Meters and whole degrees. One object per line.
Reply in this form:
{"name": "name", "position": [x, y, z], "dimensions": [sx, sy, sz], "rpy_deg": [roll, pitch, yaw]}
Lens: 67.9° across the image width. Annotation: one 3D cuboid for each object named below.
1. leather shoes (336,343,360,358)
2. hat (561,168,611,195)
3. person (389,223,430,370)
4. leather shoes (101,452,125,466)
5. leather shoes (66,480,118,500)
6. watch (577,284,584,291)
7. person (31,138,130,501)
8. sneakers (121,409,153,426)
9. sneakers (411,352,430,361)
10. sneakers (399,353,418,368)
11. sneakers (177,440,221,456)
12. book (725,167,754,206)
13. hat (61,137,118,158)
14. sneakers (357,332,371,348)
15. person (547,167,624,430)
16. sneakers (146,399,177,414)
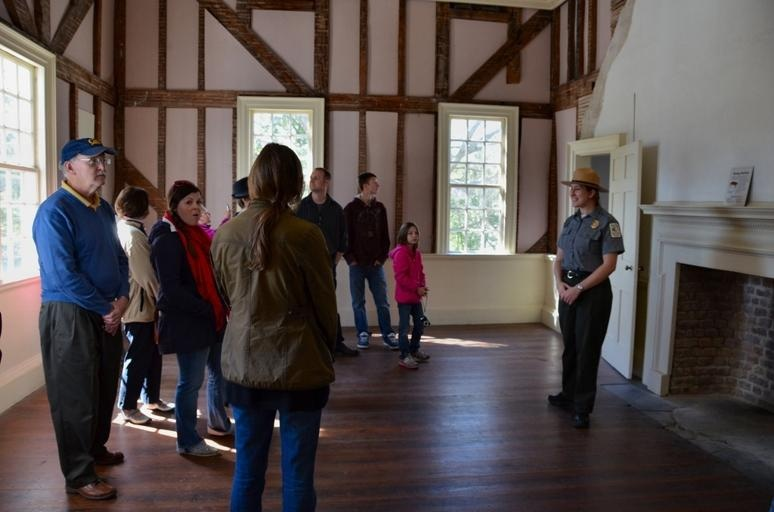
{"name": "leather shoes", "position": [-0.478, 1.156, 7.025], "dimensions": [0.324, 0.141, 0.141], "rpy_deg": [0, 1, -5]}
{"name": "hat", "position": [1.962, -0.688, 5.510], "dimensions": [0.414, 0.159, 0.372], "rpy_deg": [23, -5, -33]}
{"name": "person", "position": [0.278, 0.460, 6.608], "dimensions": [0.444, 1.626, 0.470], "rpy_deg": [1, 13, 1]}
{"name": "leather shoes", "position": [-2.226, 1.645, 4.701], "dimensions": [0.179, 0.081, 0.082], "rpy_deg": [-1, 2, -15]}
{"name": "leather shoes", "position": [-2.232, 1.756, 4.382], "dimensions": [0.367, 0.167, 0.148], "rpy_deg": [0, 0, 8]}
{"name": "watch", "position": [1.763, 0.289, 5.275], "dimensions": [0.057, 0.056, 0.014], "rpy_deg": [3, -6, 28]}
{"name": "person", "position": [-2.294, 0.466, 4.324], "dimensions": [0.579, 2.602, 0.711], "rpy_deg": [-1, 13, -7]}
{"name": "sneakers", "position": [-2.292, 1.479, 5.276], "dimensions": [0.238, 0.096, 0.128], "rpy_deg": [7, 5, 14]}
{"name": "sneakers", "position": [0.404, 1.201, 6.857], "dimensions": [0.205, 0.089, 0.089], "rpy_deg": [0, -1, -1]}
{"name": "sneakers", "position": [0.244, 1.228, 6.652], "dimensions": [0.248, 0.114, 0.098], "rpy_deg": [-2, -2, 41]}
{"name": "sneakers", "position": [-1.564, 1.595, 4.769], "dimensions": [0.304, 0.129, 0.140], "rpy_deg": [1, -1, -6]}
{"name": "book", "position": [3.299, -0.665, 5.437], "dimensions": [0.185, 0.354, 0.237], "rpy_deg": [-8, 15, -34]}
{"name": "hat", "position": [-2.248, -0.793, 4.343], "dimensions": [0.306, 0.122, 0.216], "rpy_deg": [-9, 7, -15]}
{"name": "sneakers", "position": [-0.304, 1.071, 7.308], "dimensions": [0.171, 0.206, 0.478], "rpy_deg": [1, -2, -4]}
{"name": "person", "position": [1.868, 0.369, 5.412], "dimensions": [0.519, 2.308, 0.785], "rpy_deg": [0, 13, -4]}
{"name": "sneakers", "position": [-2.167, 1.455, 5.560], "dimensions": [0.275, 0.113, 0.157], "rpy_deg": [1, 2, 1]}
